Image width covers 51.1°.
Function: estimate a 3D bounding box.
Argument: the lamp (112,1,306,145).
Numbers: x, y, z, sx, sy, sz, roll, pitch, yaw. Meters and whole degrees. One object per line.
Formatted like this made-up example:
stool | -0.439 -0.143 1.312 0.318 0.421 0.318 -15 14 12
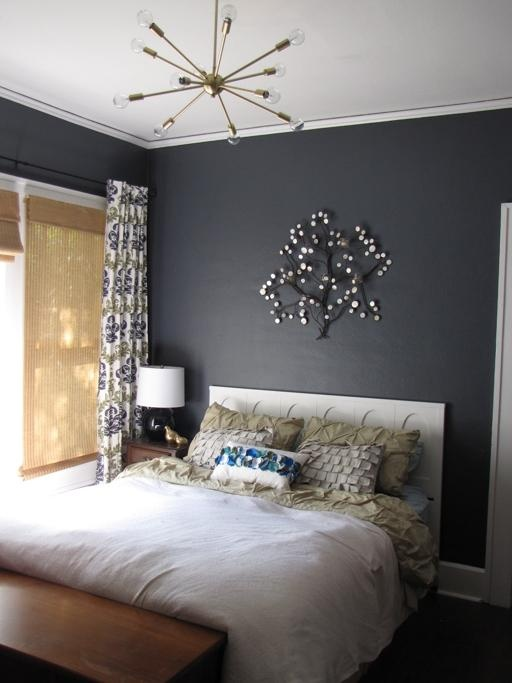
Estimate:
lamp | -0.215 -1.289 2.555 0.506 0.529 0.524 25 -38 -35
